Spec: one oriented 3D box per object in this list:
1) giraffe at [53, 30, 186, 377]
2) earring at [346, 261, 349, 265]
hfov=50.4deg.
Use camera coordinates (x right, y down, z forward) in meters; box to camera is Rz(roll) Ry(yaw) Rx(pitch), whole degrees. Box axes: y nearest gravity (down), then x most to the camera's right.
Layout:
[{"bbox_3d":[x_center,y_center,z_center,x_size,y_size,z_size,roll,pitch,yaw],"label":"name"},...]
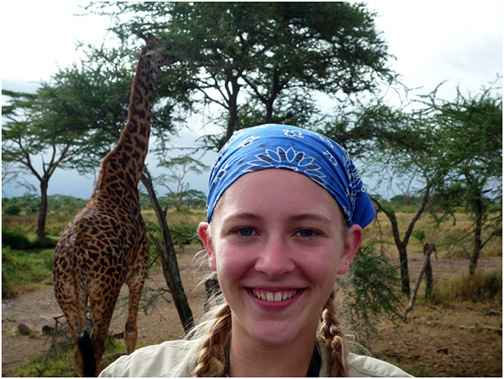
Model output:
[{"bbox_3d":[-2.490,0.167,9.857,1.079,5.877,2.397,2,3,11],"label":"giraffe"},{"bbox_3d":[1.101,0.847,6.215,0.038,0.019,0.051,-1,-2,0],"label":"earring"}]
